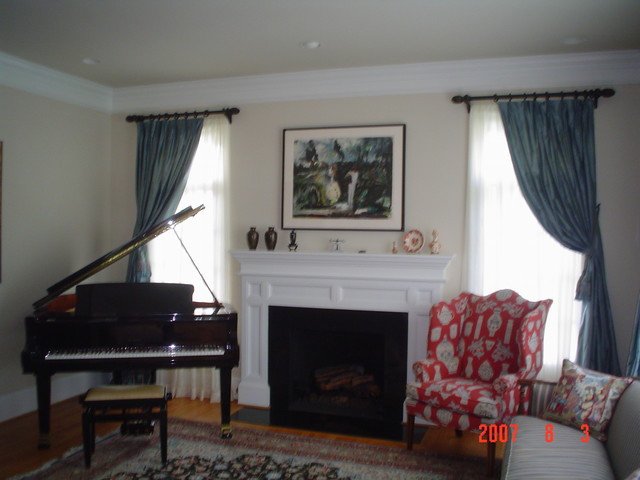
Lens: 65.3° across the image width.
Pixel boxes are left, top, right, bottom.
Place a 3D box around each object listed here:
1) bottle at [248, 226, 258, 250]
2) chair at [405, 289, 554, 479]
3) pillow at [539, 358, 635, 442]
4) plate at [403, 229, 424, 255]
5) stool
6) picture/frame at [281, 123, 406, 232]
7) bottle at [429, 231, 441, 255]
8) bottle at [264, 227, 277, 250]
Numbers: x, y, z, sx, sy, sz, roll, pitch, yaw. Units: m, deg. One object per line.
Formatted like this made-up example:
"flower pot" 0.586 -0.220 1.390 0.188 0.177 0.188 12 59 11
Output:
"bottle" -0.742 -0.013 5.541 0.126 0.256 0.215 -1 7 -8
"chair" 1.351 1.246 4.986 1.287 1.865 1.403 -3 -10 42
"pillow" 2.023 1.236 3.776 0.401 0.205 0.432 -48 21 -22
"plate" 0.968 0.014 5.183 0.213 0.229 0.137 1 7 12
"stool" -1.679 1.467 4.488 0.772 0.753 0.589 1 7 -7
"picture/frame" 0.310 -0.671 5.345 1.032 0.946 0.025 1 -1 13
"bottle" 1.171 0.028 5.088 0.115 0.239 0.235 1 7 13
"bottle" -0.524 -0.010 5.474 0.180 0.250 0.150 -4 8 -33
